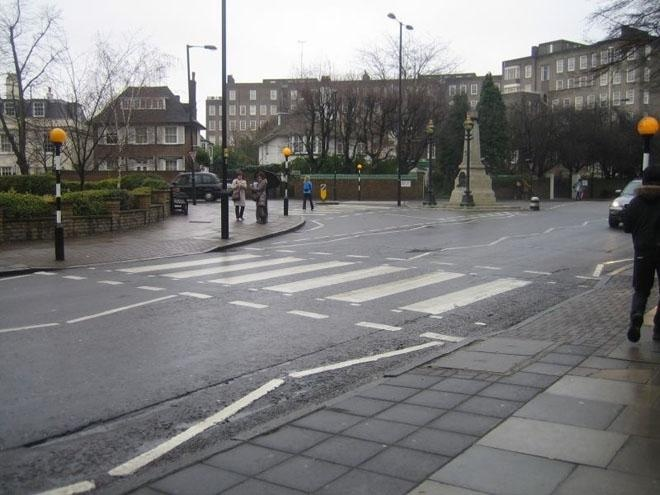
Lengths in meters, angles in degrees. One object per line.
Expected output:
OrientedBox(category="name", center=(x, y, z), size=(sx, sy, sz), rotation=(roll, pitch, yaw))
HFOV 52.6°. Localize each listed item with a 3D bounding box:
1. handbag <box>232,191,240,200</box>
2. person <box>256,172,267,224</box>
OrientedBox(category="handbag", center=(-3.829, -2.095, 27.107), size=(0.271, 0.394, 0.523), rotation=(-3, 9, -13))
OrientedBox(category="person", center=(-2.712, -1.964, 26.134), size=(0.410, 1.913, 1.324), rotation=(-2, 8, -8))
